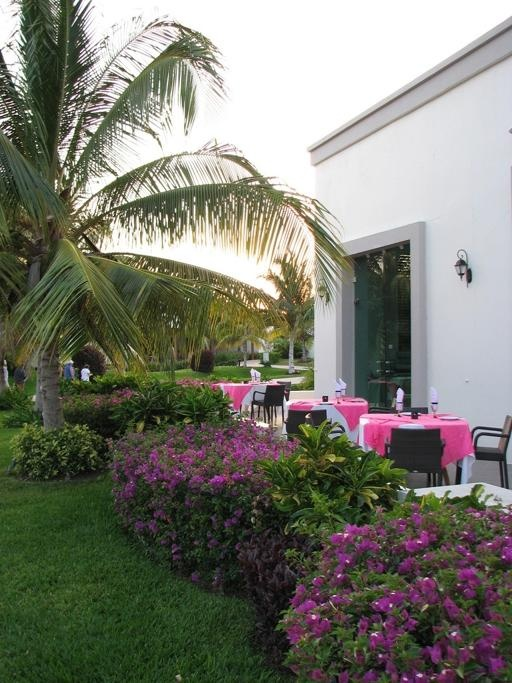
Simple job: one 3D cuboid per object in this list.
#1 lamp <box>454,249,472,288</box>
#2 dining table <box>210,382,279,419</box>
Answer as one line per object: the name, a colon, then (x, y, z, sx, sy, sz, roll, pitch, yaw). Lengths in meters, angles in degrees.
lamp: (3.400, -1.215, 8.043, 0.241, 0.586, 0.304, -7, 0, 24)
dining table: (-0.107, 1.167, 10.795, 1.065, 0.557, 1.053, 2, -5, -28)
